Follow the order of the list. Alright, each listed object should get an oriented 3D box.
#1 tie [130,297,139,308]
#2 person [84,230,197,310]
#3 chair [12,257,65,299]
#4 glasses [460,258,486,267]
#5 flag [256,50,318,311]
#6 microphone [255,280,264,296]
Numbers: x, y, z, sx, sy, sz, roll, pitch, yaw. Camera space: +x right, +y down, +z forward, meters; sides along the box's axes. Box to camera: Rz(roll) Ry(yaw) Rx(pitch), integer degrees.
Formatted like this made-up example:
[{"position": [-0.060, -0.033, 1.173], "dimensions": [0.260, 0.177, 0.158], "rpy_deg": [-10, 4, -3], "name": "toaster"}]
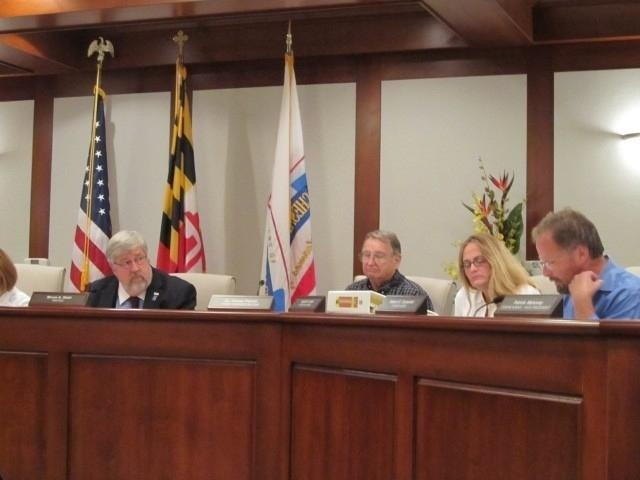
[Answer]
[{"position": [-1.046, 0.358, 3.640], "dimensions": [0.043, 0.067, 0.017], "rpy_deg": [-18, -6, -2], "name": "tie"}, {"position": [-0.997, 0.243, 3.657], "dimensions": [0.666, 0.597, 0.393], "rpy_deg": [1, -11, -6], "name": "person"}, {"position": [-1.745, 0.222, 4.176], "dimensions": [0.178, 0.224, 0.220], "rpy_deg": [-5, -25, 6], "name": "chair"}, {"position": [0.826, 0.129, 3.435], "dimensions": [0.126, 0.068, 0.031], "rpy_deg": [3, 15, 27], "name": "glasses"}, {"position": [-0.232, -0.449, 4.696], "dimensions": [0.376, 1.773, 0.770], "rpy_deg": [1, 14, 21], "name": "flag"}, {"position": [-0.439, 0.345, 4.524], "dimensions": [0.078, 0.143, 0.142], "rpy_deg": [1, -4, -13], "name": "microphone"}]
